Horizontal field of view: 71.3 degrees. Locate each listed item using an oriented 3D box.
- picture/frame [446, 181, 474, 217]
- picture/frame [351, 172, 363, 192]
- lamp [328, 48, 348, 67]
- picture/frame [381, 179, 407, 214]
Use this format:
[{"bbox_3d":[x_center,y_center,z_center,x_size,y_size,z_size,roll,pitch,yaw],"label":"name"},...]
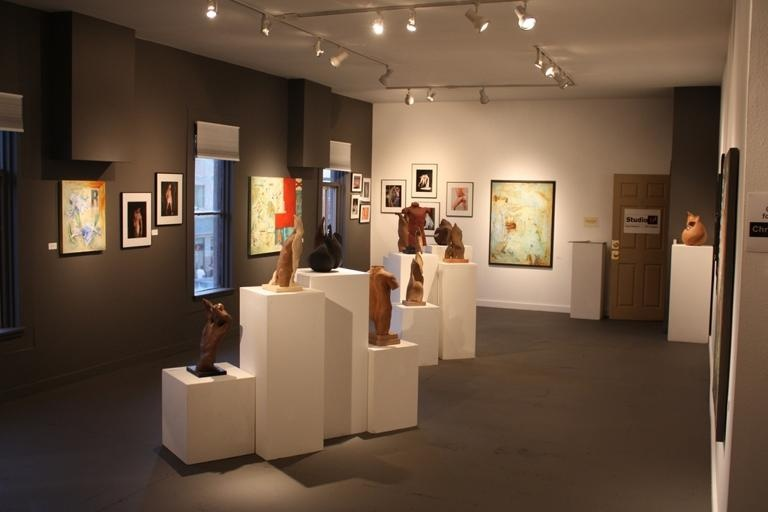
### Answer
[{"bbox_3d":[1.716,-1.297,11.944,0.690,0.923,0.018,4,6,34],"label":"picture/frame"},{"bbox_3d":[-0.617,-1.651,11.887,0.031,0.442,0.442,1,3,29],"label":"picture/frame"},{"bbox_3d":[-0.631,-2.834,7.673,0.202,0.287,0.607,1,7,-3],"label":"lamp"},{"bbox_3d":[0.217,-1.403,12.484,0.580,0.827,0.016,0,-19,3],"label":"picture/frame"}]
